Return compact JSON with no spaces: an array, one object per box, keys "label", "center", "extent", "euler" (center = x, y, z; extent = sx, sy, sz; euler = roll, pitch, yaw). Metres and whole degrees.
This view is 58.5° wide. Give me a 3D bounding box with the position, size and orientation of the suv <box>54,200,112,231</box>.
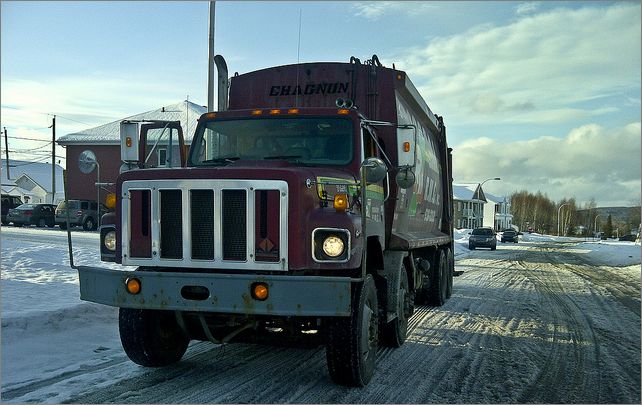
[{"label":"suv","center":[-10.267,0.554,24.505],"extent":[1.417,1.347,2.803],"euler":[0,2,18]}]
